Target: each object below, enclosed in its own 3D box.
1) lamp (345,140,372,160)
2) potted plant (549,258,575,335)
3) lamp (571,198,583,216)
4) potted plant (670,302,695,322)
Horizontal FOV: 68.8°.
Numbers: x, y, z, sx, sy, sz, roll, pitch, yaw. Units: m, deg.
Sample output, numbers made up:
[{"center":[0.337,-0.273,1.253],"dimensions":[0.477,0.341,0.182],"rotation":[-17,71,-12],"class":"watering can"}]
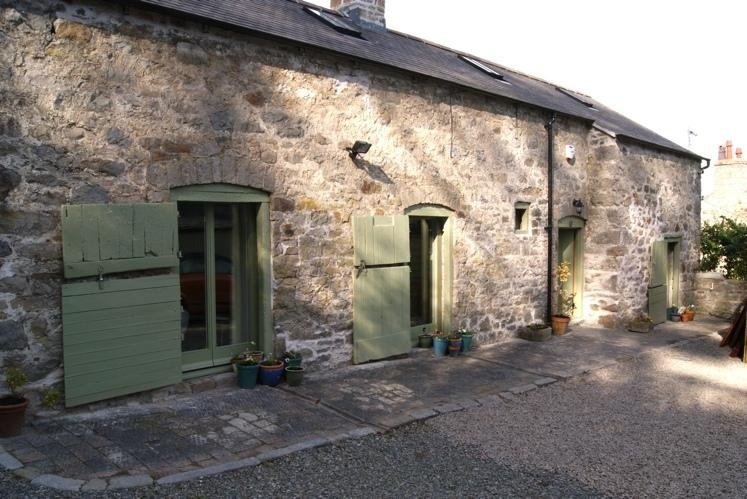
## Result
[{"center":[-0.179,-1.527,8.476],"dimensions":[0.268,0.282,0.427],"rotation":[13,15,38],"class":"lamp"},{"center":[4.077,0.997,11.768],"dimensions":[0.560,1.371,1.505],"rotation":[9,13,21],"class":"potted plant"},{"center":[4.476,-0.918,11.956],"dimensions":[0.167,0.381,0.361],"rotation":[14,16,39],"class":"lamp"},{"center":[7.651,1.585,13.603],"dimensions":[0.485,0.227,0.522],"rotation":[-1,0,23],"class":"potted plant"}]
